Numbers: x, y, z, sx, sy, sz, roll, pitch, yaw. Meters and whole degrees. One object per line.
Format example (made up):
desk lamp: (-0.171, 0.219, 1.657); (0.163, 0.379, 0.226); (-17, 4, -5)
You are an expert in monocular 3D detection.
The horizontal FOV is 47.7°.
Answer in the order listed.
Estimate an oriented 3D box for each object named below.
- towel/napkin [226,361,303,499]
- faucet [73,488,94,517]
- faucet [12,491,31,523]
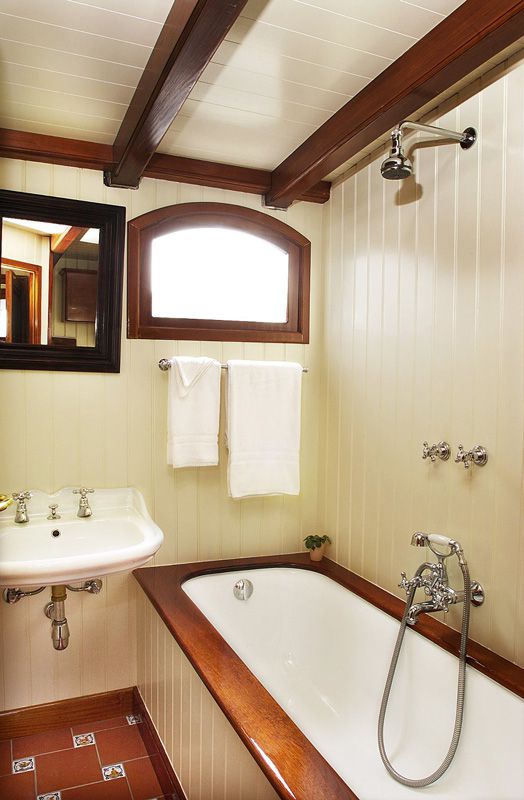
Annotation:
towel/napkin: (0.019, 0.123, 2.600); (0.345, 0.583, 0.170); (-2, 5, -8)
faucet: (-0.711, 0.409, 2.361); (0.101, 0.140, 0.077); (-1, 5, -29)
faucet: (-0.901, 0.402, 2.237); (0.056, 0.120, 0.131); (-3, 6, -23)
